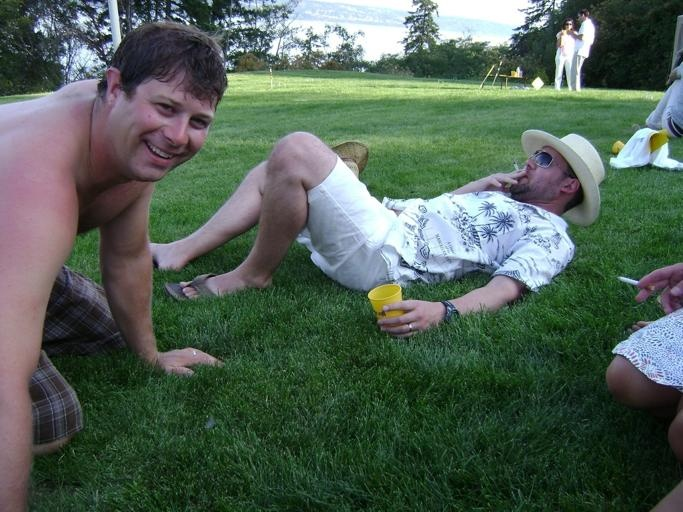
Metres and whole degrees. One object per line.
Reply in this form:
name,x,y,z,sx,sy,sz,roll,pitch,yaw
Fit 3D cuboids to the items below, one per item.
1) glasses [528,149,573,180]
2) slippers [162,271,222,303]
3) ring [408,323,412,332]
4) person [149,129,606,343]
glasses,1.409,-0.605,3.989,0.226,0.075,0.174,32,-8,-28
slippers,-0.931,0.188,3.700,0.387,0.105,0.151,-5,41,-43
ring,0.368,0.378,3.097,0.032,0.036,0.034,2,-7,0
person,0.497,-0.137,3.676,2.167,0.856,1.583,2,6,-13
